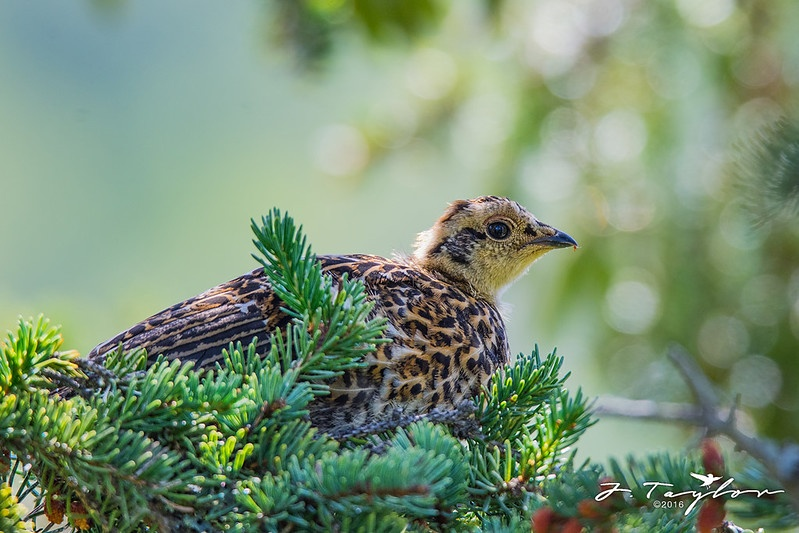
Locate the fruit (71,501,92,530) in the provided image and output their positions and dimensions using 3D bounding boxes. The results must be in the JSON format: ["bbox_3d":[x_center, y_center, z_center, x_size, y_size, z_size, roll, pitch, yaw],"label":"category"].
[{"bbox_3d":[-1.950,1.526,6.766,0.134,0.060,0.167,-5,-81,0],"label":"fruit"}]

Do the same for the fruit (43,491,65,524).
[{"bbox_3d":[-2.119,1.483,6.844,0.145,0.062,0.172,-6,-83,13],"label":"fruit"}]
